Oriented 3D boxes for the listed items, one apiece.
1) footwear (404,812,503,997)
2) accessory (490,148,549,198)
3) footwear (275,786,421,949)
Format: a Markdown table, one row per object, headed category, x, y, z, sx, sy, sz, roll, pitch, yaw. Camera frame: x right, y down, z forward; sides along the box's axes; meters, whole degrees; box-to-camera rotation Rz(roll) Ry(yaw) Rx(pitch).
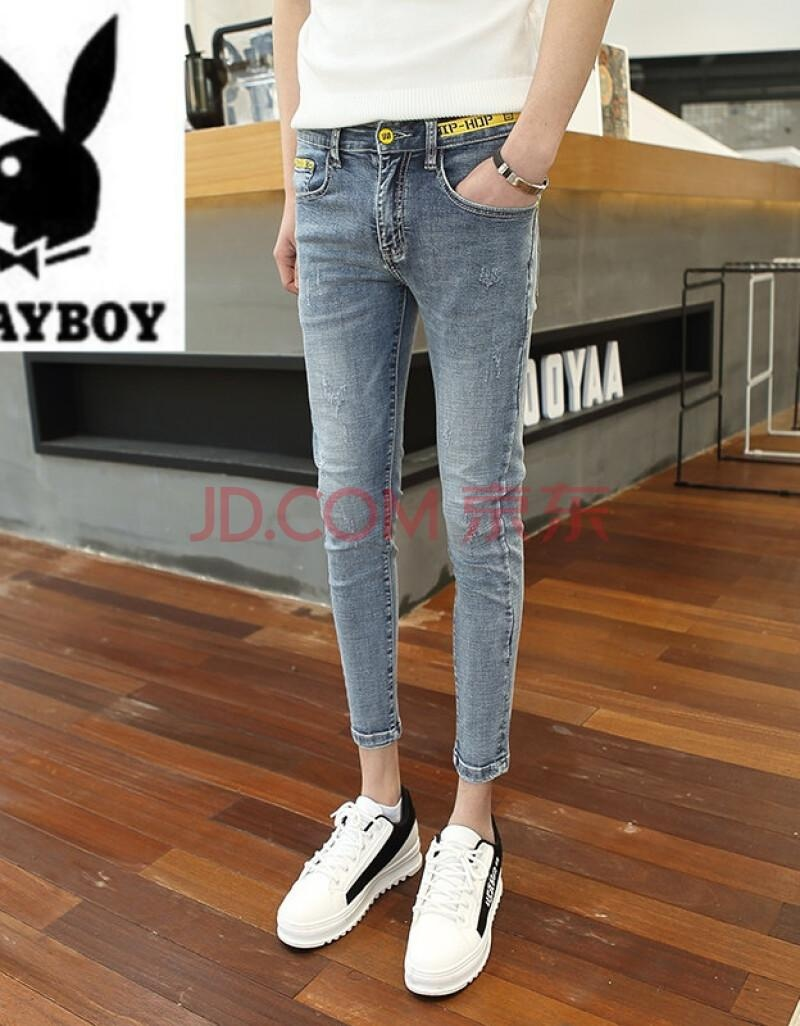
| category | x | y | z | sx | sy | sz | roll | pitch | yaw |
| --- | --- | --- | --- | --- | --- | --- | --- | --- | --- |
| footwear | 0.062 | 0.397 | 0.852 | 0.061 | 0.068 | 0.176 | 3 | 17 | 13 |
| accessory | 0.107 | -0.286 | 0.700 | 0.062 | 0.036 | 0.030 | -12 | 17 | -38 |
| footwear | -0.060 | 0.393 | 0.975 | 0.077 | 0.093 | 0.211 | 13 | 23 | 34 |
